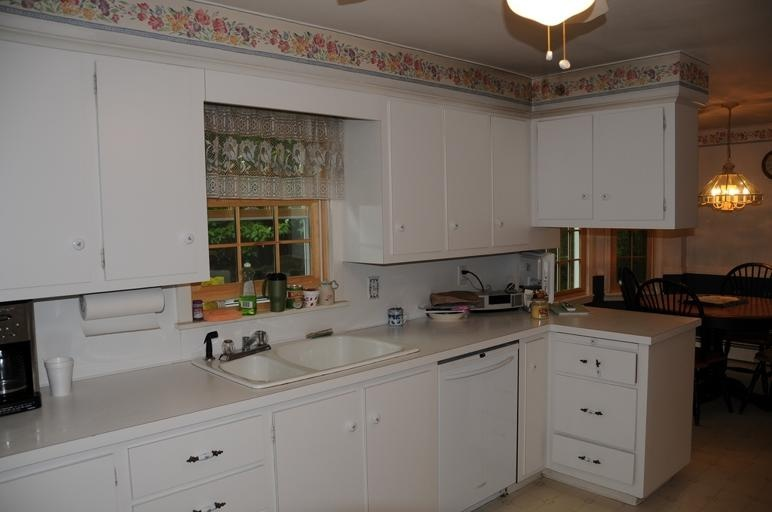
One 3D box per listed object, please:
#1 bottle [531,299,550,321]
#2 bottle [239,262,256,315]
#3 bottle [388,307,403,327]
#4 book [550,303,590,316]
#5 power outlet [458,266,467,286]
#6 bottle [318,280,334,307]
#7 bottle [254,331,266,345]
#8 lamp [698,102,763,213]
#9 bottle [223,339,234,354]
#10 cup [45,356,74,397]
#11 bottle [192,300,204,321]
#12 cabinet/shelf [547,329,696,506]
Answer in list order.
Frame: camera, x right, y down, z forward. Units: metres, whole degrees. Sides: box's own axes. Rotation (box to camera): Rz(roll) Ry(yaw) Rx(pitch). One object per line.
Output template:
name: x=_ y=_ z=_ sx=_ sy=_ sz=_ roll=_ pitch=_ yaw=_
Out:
bottle: x=1.208 y=0.429 z=4.281 sx=0.141 sy=0.131 sz=0.140 roll=-4 pitch=7 yaw=-22
bottle: x=-0.904 y=0.218 z=3.539 sx=0.098 sy=0.319 sz=0.179 roll=-3 pitch=13 yaw=-16
bottle: x=0.076 y=0.466 z=4.116 sx=0.094 sy=0.104 sz=0.144 roll=0 pitch=0 yaw=34
book: x=1.491 y=0.445 z=4.362 sx=0.294 sy=0.047 sz=0.196 roll=3 pitch=12 yaw=9
power outlet: x=0.650 y=0.172 z=4.586 sx=0.034 sy=0.144 sz=0.107 roll=2 pitch=5 yaw=33
bottle: x=-0.411 y=0.274 z=3.798 sx=0.150 sy=0.155 sz=0.116 roll=1 pitch=-1 yaw=-38
bottle: x=-0.791 y=0.522 z=3.442 sx=0.083 sy=0.094 sz=0.075 roll=-5 pitch=7 yaw=-36
lamp: x=4.065 y=-1.080 z=6.316 sx=0.595 sy=1.280 sz=1.650 roll=7 pitch=14 yaw=30
bottle: x=-0.958 y=0.558 z=3.296 sx=0.071 sy=0.083 sz=0.070 roll=0 pitch=0 yaw=-41
cup: x=-1.724 y=0.643 z=2.869 sx=0.118 sy=0.194 sz=0.128 roll=0 pitch=12 yaw=0
bottle: x=-1.170 y=0.344 z=3.373 sx=0.065 sy=0.123 sz=0.092 roll=-2 pitch=13 yaw=-12
cabinet/shelf: x=1.754 y=1.139 z=4.396 sx=1.164 sy=1.475 sz=1.022 roll=2 pitch=-2 yaw=-43
